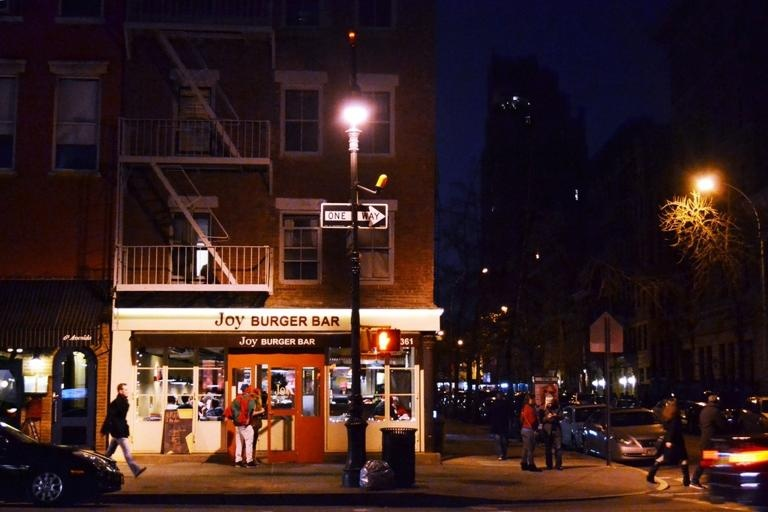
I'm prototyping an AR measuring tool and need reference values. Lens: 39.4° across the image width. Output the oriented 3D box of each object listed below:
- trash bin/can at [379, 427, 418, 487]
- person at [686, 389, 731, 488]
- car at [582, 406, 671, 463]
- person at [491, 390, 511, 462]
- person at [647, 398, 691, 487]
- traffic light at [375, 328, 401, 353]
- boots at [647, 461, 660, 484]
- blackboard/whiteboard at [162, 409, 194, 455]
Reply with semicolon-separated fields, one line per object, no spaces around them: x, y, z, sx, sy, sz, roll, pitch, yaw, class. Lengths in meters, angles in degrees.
0.410;6.165;32.705;1.084;1.766;0.959;1;-10;-5;trash bin/can
10.096;5.889;33.472;0.931;3.065;1.016;7;-17;15;person
9.477;6.773;41.159;2.322;1.927;5.688;-4;-1;0;car
4.232;6.182;39.061;0.630;2.404;0.843;-1;-11;7;person
9.012;5.875;34.009;1.377;2.992;0.899;1;-4;-6;person
0.138;2.748;34.439;0.660;0.754;0.706;-1;-6;1;traffic light
8.416;6.781;33.519;0.407;0.637;0.492;-3;-12;14;boots
-7.368;6.116;37.417;1.245;2.568;1.318;1;-8;-5;blackboard/whiteboard
